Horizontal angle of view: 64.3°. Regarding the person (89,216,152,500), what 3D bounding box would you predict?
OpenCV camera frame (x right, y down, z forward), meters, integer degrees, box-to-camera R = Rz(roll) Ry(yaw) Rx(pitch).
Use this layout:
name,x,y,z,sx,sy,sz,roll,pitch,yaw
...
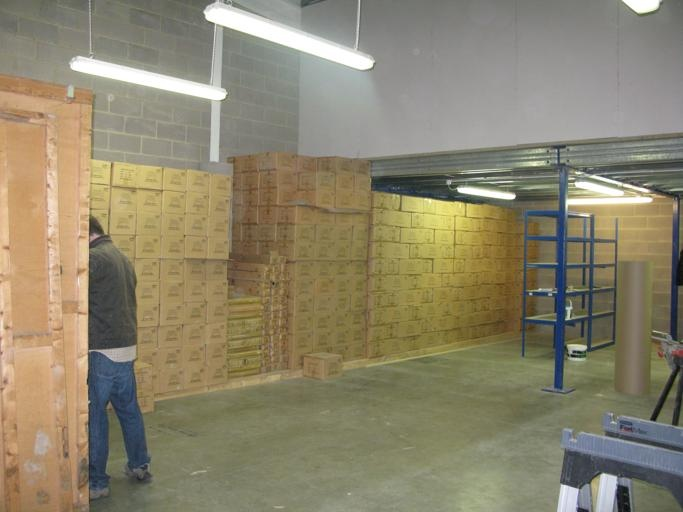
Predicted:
name,x,y,z,sx,sy,sz,roll,pitch,yaw
person,-2.193,0.916,5.060,0.465,2.573,0.705,3,3,27

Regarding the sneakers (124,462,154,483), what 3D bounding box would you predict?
name,x,y,z,sx,sy,sz,roll,pitch,yaw
sneakers,-1.981,2.124,5.293,0.267,0.111,0.136,15,5,34

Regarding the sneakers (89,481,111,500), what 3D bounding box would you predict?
name,x,y,z,sx,sy,sz,roll,pitch,yaw
sneakers,-2.203,2.154,4.953,0.084,0.105,0.239,-4,-11,44

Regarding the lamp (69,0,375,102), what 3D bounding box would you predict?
name,x,y,z,sx,sy,sz,roll,pitch,yaw
lamp,-1.523,-2.259,6.114,2.139,0.531,3.533,0,2,-41

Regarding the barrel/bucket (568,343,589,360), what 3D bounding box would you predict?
name,x,y,z,sx,sy,sz,roll,pitch,yaw
barrel/bucket,5.084,2.060,11.694,0.348,0.272,0.330,-1,-2,0
